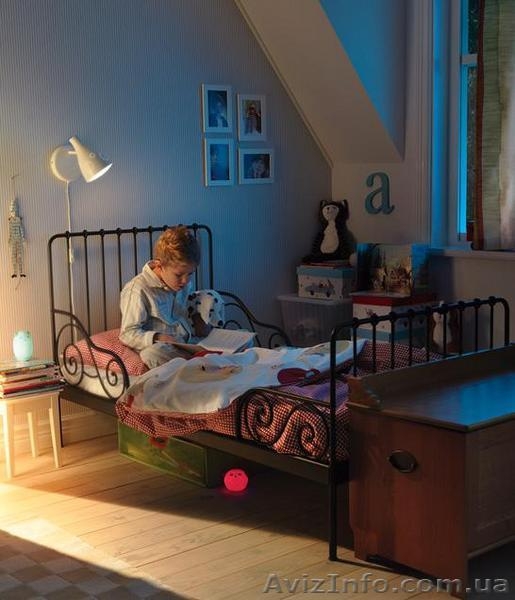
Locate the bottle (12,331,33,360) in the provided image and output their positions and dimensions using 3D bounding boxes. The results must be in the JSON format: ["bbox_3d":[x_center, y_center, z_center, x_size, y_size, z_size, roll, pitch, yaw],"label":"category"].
[{"bbox_3d":[-1.012,0.204,2.618,0.075,0.125,0.098,-2,3,-11],"label":"bottle"}]

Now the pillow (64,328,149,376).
[{"bbox_3d":[-0.663,0.202,2.697,0.193,0.074,0.310,-11,16,-40],"label":"pillow"}]

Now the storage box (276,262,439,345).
[{"bbox_3d":[0.443,0.008,3.828,0.604,0.388,0.627,-4,5,-39],"label":"storage box"}]

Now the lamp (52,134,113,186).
[{"bbox_3d":[-0.814,-0.671,2.910,0.305,0.217,0.262,-3,3,-33],"label":"lamp"}]

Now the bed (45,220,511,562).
[{"bbox_3d":[-0.045,0.328,2.650,1.113,1.098,2.008,-8,10,-37],"label":"bed"}]
